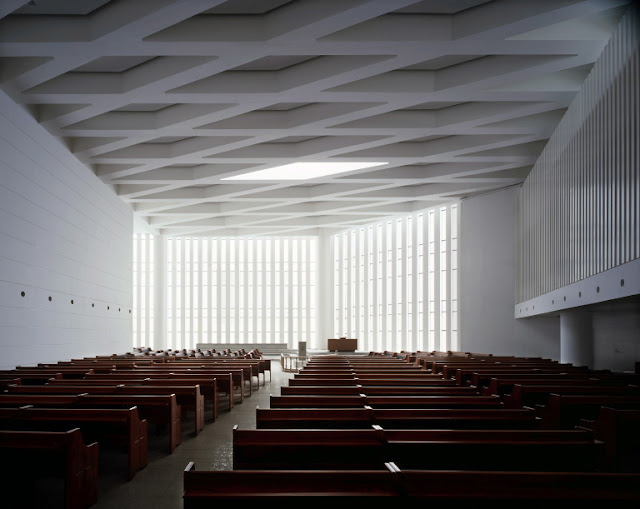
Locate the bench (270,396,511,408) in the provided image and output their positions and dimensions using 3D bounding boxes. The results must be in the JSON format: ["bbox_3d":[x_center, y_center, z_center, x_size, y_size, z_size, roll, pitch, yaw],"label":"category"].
[{"bbox_3d":[0.768,1.768,6.271,2.729,0.130,0.191,0,-10,3],"label":"bench"}]

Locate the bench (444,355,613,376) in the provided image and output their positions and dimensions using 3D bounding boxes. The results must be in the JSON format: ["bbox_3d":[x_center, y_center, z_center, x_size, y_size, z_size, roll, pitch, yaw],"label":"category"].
[{"bbox_3d":[4.843,2.708,12.985,3.248,0.193,6.996,-2,-10,14],"label":"bench"}]

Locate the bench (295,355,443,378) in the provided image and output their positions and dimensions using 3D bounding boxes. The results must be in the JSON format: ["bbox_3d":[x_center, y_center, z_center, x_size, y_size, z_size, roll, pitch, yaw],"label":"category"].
[{"bbox_3d":[0.887,2.490,11.737,2.448,0.171,6.278,0,-9,2],"label":"bench"}]
